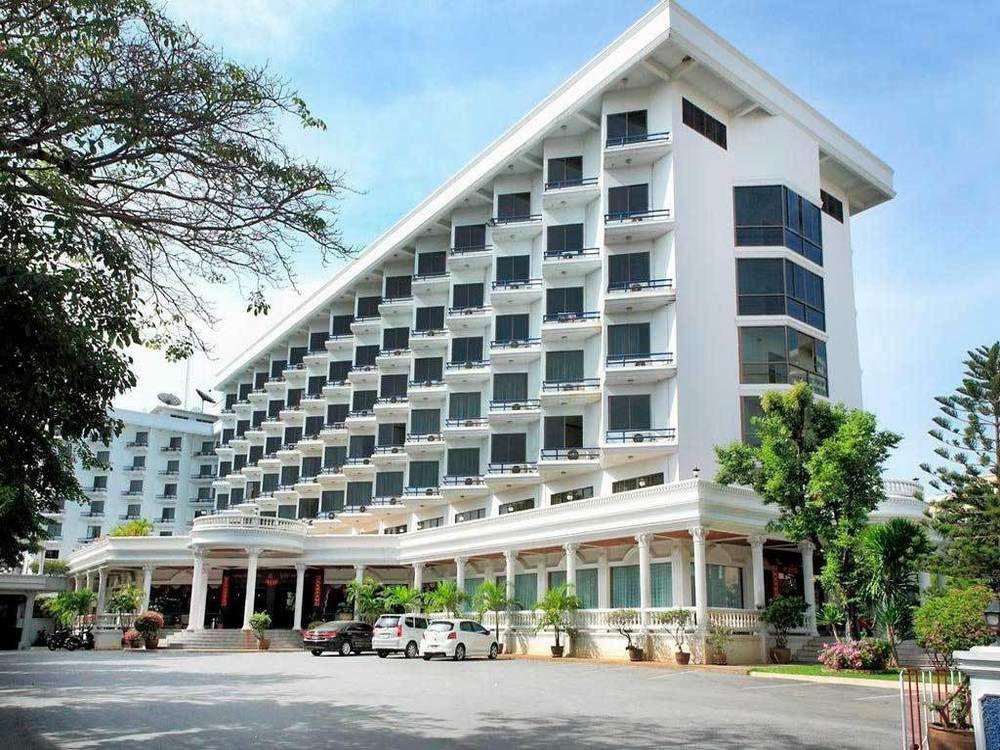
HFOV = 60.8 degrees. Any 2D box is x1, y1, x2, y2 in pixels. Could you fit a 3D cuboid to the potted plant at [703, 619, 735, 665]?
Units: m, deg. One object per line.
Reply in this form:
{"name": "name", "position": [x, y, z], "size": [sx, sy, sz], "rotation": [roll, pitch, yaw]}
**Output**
{"name": "potted plant", "position": [7.649, 9.368, 29.923], "size": [0.724, 1.346, 1.407], "rotation": [-8, -20, 23]}

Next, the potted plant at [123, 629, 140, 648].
{"name": "potted plant", "position": [-17.920, 12.700, 41.355], "size": [0.953, 0.886, 0.906], "rotation": [2, -21, -1]}

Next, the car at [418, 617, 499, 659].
{"name": "car", "position": [-1.586, 9.862, 32.237], "size": [2.604, 1.062, 1.588], "rotation": [12, -19, -43]}

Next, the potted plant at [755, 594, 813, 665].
{"name": "potted plant", "position": [10.610, 9.342, 31.597], "size": [1.310, 2.341, 2.528], "rotation": [-17, -25, 41]}

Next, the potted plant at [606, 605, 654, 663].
{"name": "potted plant", "position": [4.941, 9.751, 32.293], "size": [1.087, 1.794, 1.564], "rotation": [6, -19, -14]}

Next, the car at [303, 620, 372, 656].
{"name": "car", "position": [-6.840, 11.041, 36.052], "size": [1.335, 0.889, 2.911], "rotation": [-7, -10, 36]}

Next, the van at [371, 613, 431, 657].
{"name": "van", "position": [-3.841, 10.360, 34.351], "size": [1.418, 1.129, 2.455], "rotation": [-10, -13, 39]}

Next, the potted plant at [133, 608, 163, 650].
{"name": "potted plant", "position": [-17.235, 12.467, 41.964], "size": [1.815, 1.873, 1.769], "rotation": [1, -16, -13]}

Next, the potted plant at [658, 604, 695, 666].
{"name": "potted plant", "position": [6.310, 9.292, 30.591], "size": [1.260, 1.847, 1.032], "rotation": [-9, -21, 27]}
